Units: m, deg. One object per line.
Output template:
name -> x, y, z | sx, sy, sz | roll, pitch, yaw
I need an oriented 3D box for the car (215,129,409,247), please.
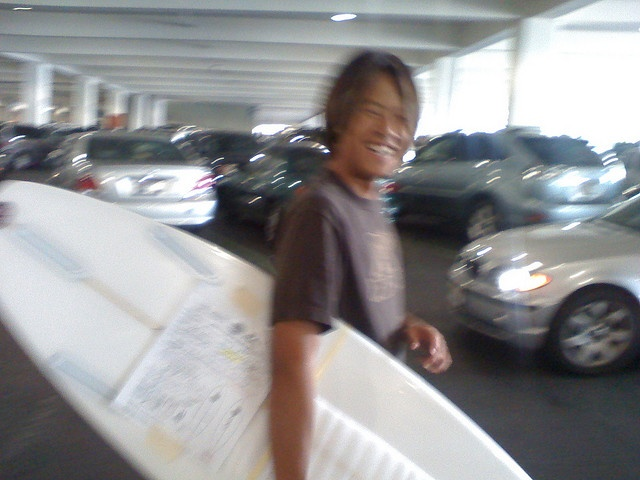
car -> -0.911, -1.059, 8.487 | 2.084, 1.536, 3.477 | -6, 9, -37

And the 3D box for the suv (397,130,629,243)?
suv -> 2.945, -1.037, 8.137 | 1.666, 1.160, 3.603 | -4, 12, -34
